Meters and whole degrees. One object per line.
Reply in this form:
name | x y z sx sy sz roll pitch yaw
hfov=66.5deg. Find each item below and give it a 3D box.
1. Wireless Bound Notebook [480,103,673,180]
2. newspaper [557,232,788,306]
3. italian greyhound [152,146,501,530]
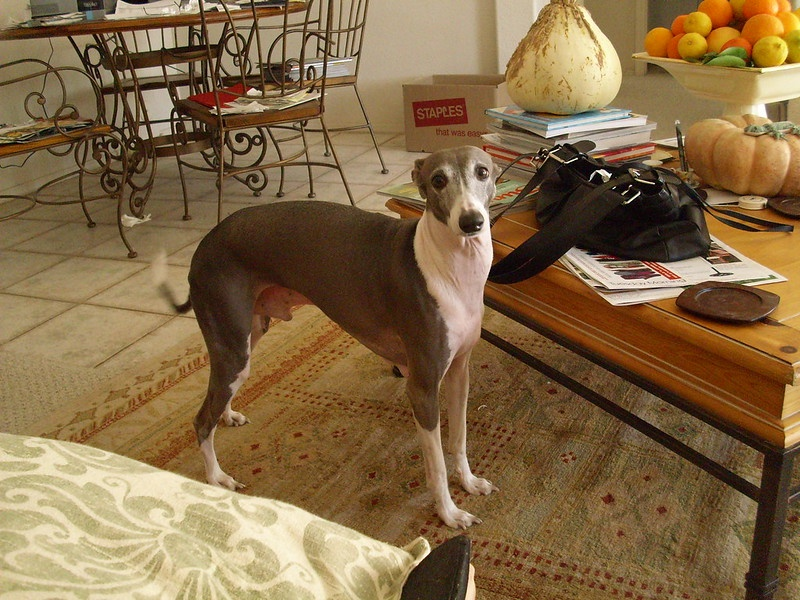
Wireless Bound Notebook | 0.545 -0.530 2.060 0.632 0.176 0.595 -4 12 -14
newspaper | 0.565 -0.060 1.263 0.296 0.036 0.319 -6 22 -6
italian greyhound | -0.133 0.057 1.414 0.972 0.792 0.331 10 26 31
